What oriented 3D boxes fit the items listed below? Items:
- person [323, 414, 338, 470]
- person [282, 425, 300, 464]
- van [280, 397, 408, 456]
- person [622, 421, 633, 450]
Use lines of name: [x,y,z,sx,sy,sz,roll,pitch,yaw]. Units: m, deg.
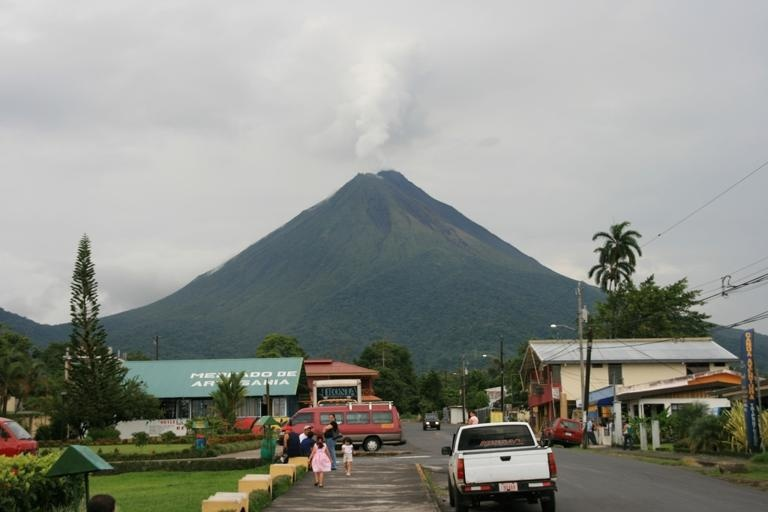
person: [-2.676,9.299,41.777,0.790,2.764,0.833,14,-23,-36]
person: [-4.386,9.088,40.019,0.831,1.517,1.669,0,-12,-7]
van: [-2.028,10.796,54.690,7.771,3.360,2.827,-6,9,25]
person: [16.243,12.026,55.740,0.536,1.609,1.461,-4,-12,14]
